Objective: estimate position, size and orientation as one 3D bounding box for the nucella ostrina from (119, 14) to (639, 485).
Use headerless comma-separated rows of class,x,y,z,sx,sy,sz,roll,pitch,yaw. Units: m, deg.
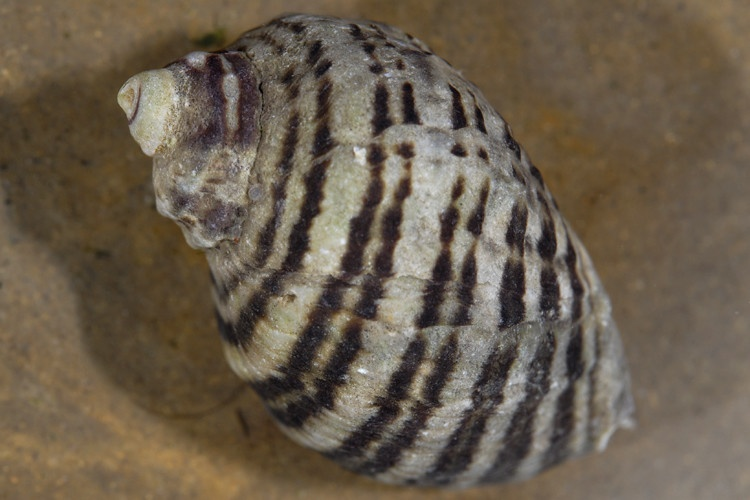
nucella ostrina,0.042,0.021,2.715,1.540,0.669,0.923,45,65,7
